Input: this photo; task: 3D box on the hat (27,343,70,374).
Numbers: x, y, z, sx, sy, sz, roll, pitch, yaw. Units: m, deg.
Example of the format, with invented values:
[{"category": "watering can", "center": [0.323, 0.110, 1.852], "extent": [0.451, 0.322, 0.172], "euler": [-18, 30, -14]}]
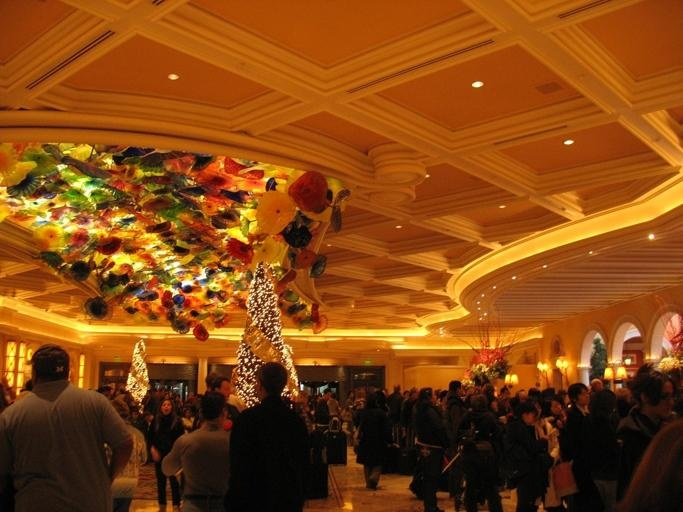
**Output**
[{"category": "hat", "center": [-1.952, 0.680, 3.387], "extent": [0.225, 0.189, 0.229], "euler": [3, -2, -14]}]
